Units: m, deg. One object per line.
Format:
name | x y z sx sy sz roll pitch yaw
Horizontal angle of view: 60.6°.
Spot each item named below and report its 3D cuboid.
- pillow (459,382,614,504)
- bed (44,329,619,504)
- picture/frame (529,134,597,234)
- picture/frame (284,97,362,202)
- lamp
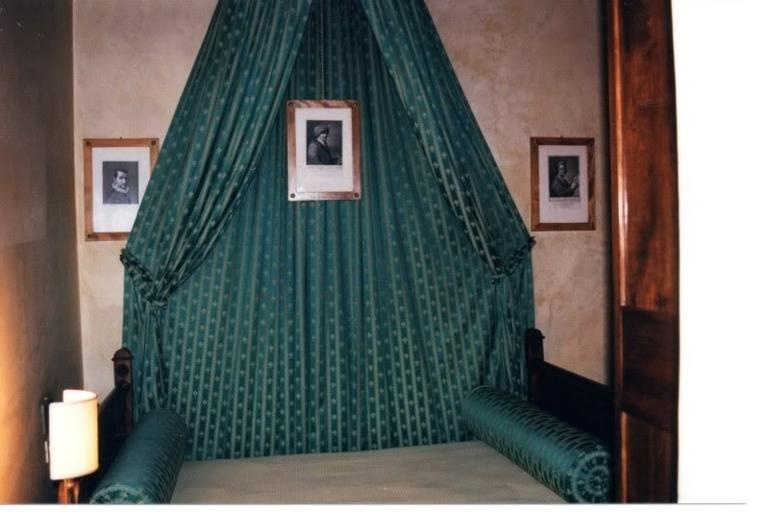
pillow | 0.744 0.934 3.367 0.248 0.253 0.824 12 4 -31
bed | -0.121 0.892 3.291 1.898 0.772 1.057 1 6 -6
picture/frame | 1.101 -0.445 4.139 0.586 0.808 0.040 1 -2 -8
picture/frame | -0.381 -0.602 3.783 0.560 0.746 0.058 -1 -4 -8
lamp | -1.373 0.830 2.902 0.202 0.446 0.319 -5 11 -21
